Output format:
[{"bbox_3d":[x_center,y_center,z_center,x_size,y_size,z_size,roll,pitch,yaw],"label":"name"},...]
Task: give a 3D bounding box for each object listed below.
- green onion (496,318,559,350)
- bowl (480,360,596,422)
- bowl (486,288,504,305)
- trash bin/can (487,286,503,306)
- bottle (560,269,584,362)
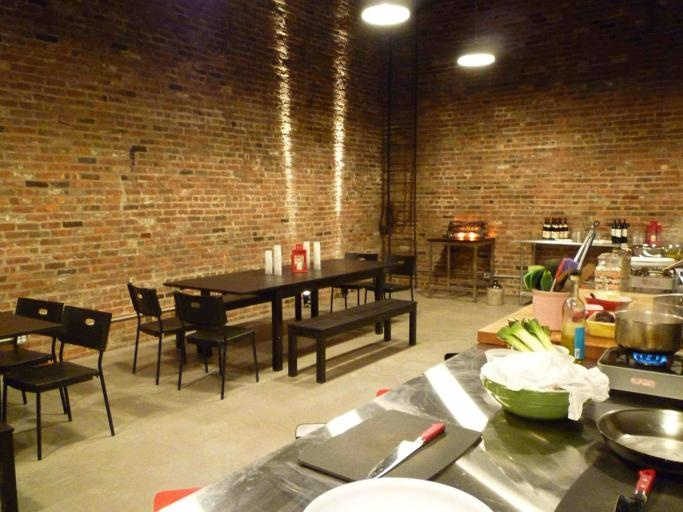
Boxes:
[{"bbox_3d":[0.622,0.268,1.649,0.115,0.108,0.157,-7,12,-38],"label":"green onion"},{"bbox_3d":[0.614,0.353,1.537,0.401,0.172,0.264,5,6,20],"label":"bowl"},{"bbox_3d":[2.275,0.602,7.274,0.270,0.250,0.265,-1,2,0],"label":"bowl"},{"bbox_3d":[2.269,0.604,7.269,0.281,0.250,0.267,0,2,22],"label":"trash bin/can"},{"bbox_3d":[0.901,0.251,1.902,0.092,0.369,0.261,6,11,26],"label":"bottle"}]
